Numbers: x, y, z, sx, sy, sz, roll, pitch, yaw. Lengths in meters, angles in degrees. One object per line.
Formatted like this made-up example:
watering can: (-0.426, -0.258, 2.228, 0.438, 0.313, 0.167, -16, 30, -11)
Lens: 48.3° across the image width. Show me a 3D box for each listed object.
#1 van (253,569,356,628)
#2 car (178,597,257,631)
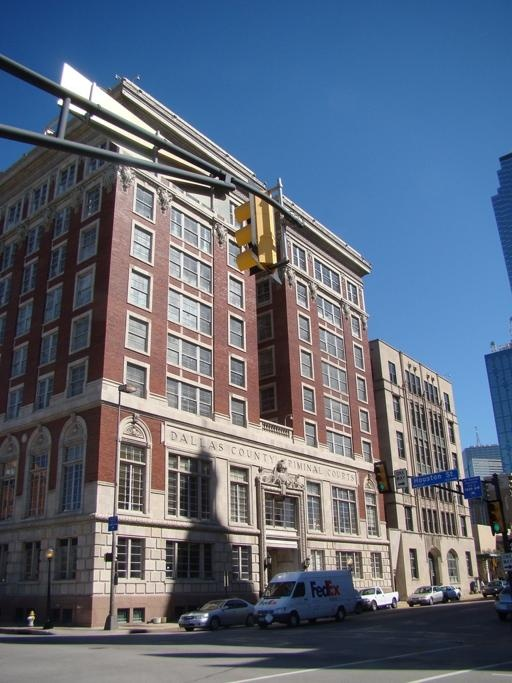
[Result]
van: (2.723, 14.048, 31.479, 2.167, 2.628, 6.602, -24, -31, 38)
car: (-2.005, 14.227, 29.807, 1.517, 1.400, 4.155, -21, -28, 34)
